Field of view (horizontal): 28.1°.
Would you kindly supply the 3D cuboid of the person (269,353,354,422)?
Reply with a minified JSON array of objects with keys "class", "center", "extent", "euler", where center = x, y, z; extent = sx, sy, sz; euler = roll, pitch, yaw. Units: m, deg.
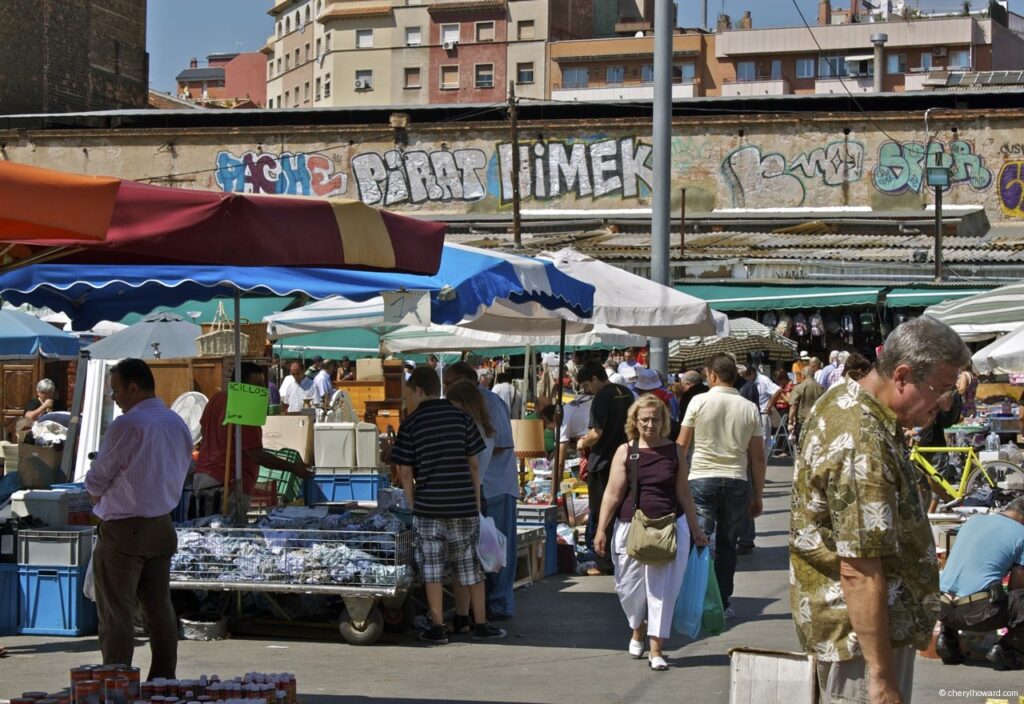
[{"class":"person","center":[-3.840,0.661,39.257],"extent":[0.930,1.843,0.624],"euler":[-8,-14,24]}]

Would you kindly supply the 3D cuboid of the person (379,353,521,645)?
[{"class":"person","center":[-0.959,2.149,29.229],"extent":[1.385,3.807,1.053],"euler":[2,13,7]}]

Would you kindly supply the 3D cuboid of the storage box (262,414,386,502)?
[{"class":"storage box","center":[-2.916,1.629,33.372],"extent":[2.322,1.533,1.292],"euler":[0,1,10]}]

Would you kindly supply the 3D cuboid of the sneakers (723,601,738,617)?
[{"class":"sneakers","center":[3.221,3.773,30.161],"extent":[0.188,0.217,0.562],"euler":[-2,-7,4]}]

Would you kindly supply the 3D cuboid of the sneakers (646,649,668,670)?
[{"class":"sneakers","center":[2.056,4.250,28.523],"extent":[0.286,0.251,0.315],"euler":[2,12,5]}]

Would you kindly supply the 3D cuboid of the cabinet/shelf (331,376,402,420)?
[{"class":"cabinet/shelf","center":[-2.688,0.745,38.481],"extent":[1.297,1.098,0.743],"euler":[-1,-6,10]}]

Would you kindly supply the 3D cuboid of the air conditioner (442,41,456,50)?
[{"class":"air conditioner","center":[-3.136,-15.733,103.615],"extent":[0.728,0.505,0.394],"euler":[3,15,3]}]

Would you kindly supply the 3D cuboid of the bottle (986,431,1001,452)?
[{"class":"bottle","center":[8.481,1.533,35.933],"extent":[0.328,0.340,0.318],"euler":[1,-4,-4]}]

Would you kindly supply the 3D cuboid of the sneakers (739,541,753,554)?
[{"class":"sneakers","center":[3.810,3.136,33.134],"extent":[0.174,0.177,0.133],"euler":[4,-7,-8]}]

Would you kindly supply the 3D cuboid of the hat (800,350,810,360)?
[{"class":"hat","center":[6.711,0.002,47.000],"extent":[0.268,0.229,0.202],"euler":[-3,-4,24]}]

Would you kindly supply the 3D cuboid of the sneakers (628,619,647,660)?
[{"class":"sneakers","center":[1.792,4.028,28.794],"extent":[0.204,0.546,0.161],"euler":[4,13,25]}]

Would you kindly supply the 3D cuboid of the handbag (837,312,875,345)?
[{"class":"handbag","center":[8.369,-0.691,49.701],"extent":[0.829,0.786,0.345],"euler":[0,2,21]}]
